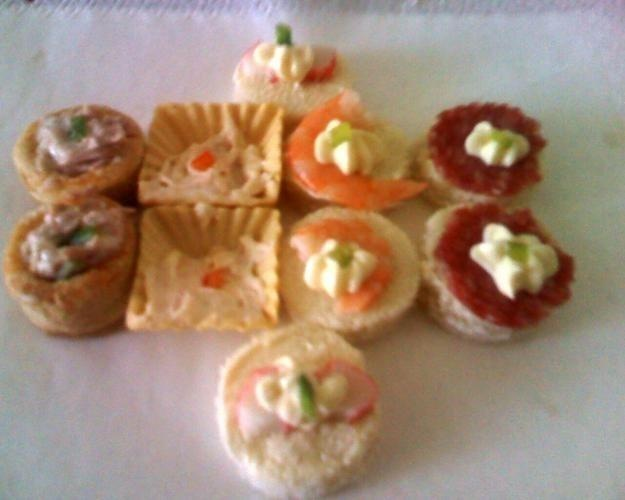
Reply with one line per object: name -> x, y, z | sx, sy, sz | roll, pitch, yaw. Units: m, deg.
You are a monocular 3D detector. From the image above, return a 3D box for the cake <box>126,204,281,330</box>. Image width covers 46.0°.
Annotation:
cake -> -0.259, 0.039, 1.795 | 0.355, 0.113, 0.324 | 0, 57, 0

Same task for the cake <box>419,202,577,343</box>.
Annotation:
cake -> 0.477, 0.061, 1.841 | 0.379, 0.141, 0.408 | 9, 46, 1

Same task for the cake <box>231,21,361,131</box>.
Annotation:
cake -> -0.041, -0.439, 2.081 | 0.292, 0.179, 0.295 | 21, 63, 11

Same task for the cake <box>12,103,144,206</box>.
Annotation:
cake -> -0.583, -0.196, 1.911 | 0.270, 0.259, 0.259 | -12, 84, -11

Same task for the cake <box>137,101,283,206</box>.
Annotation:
cake -> -0.259, -0.246, 1.913 | 0.357, 0.096, 0.292 | 0, 57, 0

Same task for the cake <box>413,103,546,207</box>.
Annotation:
cake -> 0.443, -0.312, 2.060 | 0.375, 0.391, 0.232 | 6, 97, 22

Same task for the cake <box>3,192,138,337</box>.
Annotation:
cake -> -0.570, 0.040, 1.789 | 0.316, 0.214, 0.272 | -11, 57, -6

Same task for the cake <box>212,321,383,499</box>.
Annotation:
cake -> -0.033, 0.360, 1.709 | 0.373, 0.156, 0.386 | -10, 57, -6
